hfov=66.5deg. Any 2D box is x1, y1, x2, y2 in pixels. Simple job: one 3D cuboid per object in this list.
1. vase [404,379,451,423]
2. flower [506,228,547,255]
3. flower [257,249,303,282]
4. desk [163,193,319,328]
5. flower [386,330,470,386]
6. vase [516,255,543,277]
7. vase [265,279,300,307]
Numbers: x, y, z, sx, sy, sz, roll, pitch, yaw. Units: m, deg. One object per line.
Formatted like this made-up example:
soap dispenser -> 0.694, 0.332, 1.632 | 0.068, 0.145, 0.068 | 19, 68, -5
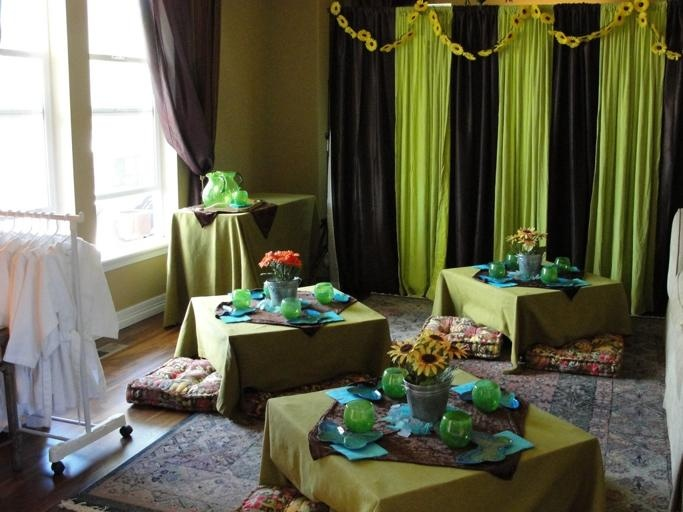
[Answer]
vase -> 0.316, 0.515, 1.908 | 0.145, 0.122, 0.142 | -1, 3, 1
flower -> 1.421, -0.107, 3.964 | 0.206, 0.138, 0.214 | -3, 4, 6
flower -> -0.367, 0.067, 3.131 | 0.264, 0.220, 0.294 | -1, 8, -8
desk -> -0.856, -0.028, 4.747 | 0.760, 0.852, 1.401 | 3, 11, 22
flower -> 0.327, 0.355, 1.905 | 0.191, 0.132, 0.226 | 1, 7, 23
vase -> 1.340, 0.060, 3.688 | 0.157, 0.130, 0.150 | 0, 2, 2
vase -> -0.344, 0.208, 3.038 | 0.148, 0.120, 0.176 | -3, 2, -21
